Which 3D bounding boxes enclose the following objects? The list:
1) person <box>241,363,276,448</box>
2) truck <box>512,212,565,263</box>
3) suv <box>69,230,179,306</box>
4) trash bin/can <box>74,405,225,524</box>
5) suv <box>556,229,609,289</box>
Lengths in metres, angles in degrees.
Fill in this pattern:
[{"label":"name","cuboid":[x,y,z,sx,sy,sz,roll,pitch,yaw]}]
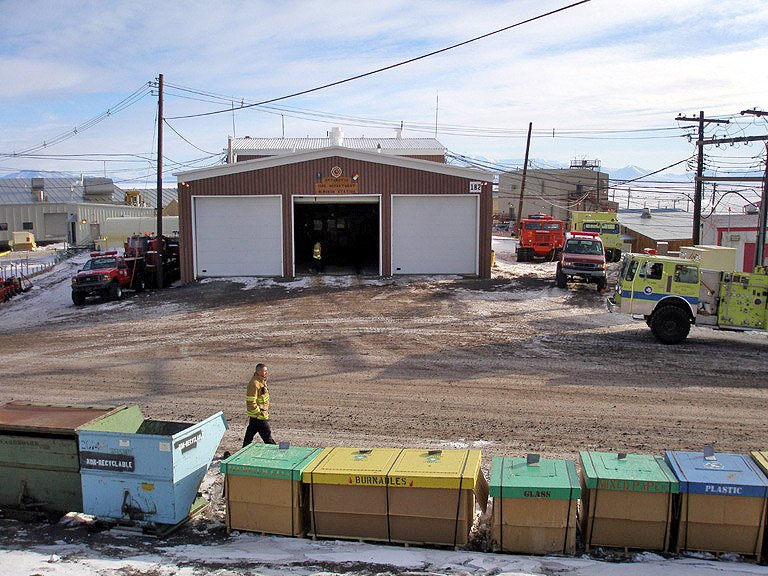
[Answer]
[{"label":"person","cuboid":[-2.652,2.635,15.570,0.798,1.845,0.956,-3,6,-43]},{"label":"truck","cuboid":[9.292,-3.034,43.512,2.969,2.520,4.111,2,6,10]},{"label":"suv","cuboid":[-12.031,-1.073,34.290,2.755,2.450,6.287,0,12,6]},{"label":"trash bin/can","cuboid":[-4.476,3.390,13.821,2.258,1.863,1.471,1,13,10]},{"label":"suv","cuboid":[9.268,-1.672,34.416,2.285,2.361,4.186,5,14,7]}]
